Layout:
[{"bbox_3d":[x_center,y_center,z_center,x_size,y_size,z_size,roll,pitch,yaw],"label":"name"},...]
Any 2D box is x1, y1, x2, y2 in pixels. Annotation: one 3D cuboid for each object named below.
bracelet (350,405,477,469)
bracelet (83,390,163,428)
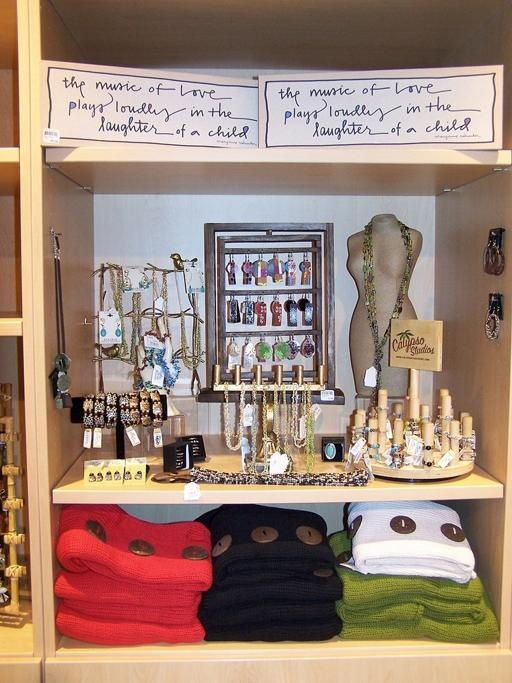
[{"bbox_3d":[0.396,0.239,1.688,0.301,0.167,0.218,-1,3,15],"label":"bracelet"},{"bbox_3d":[-0.323,0.155,1.661,0.133,0.061,0.100,0,-1,-2],"label":"bracelet"}]
